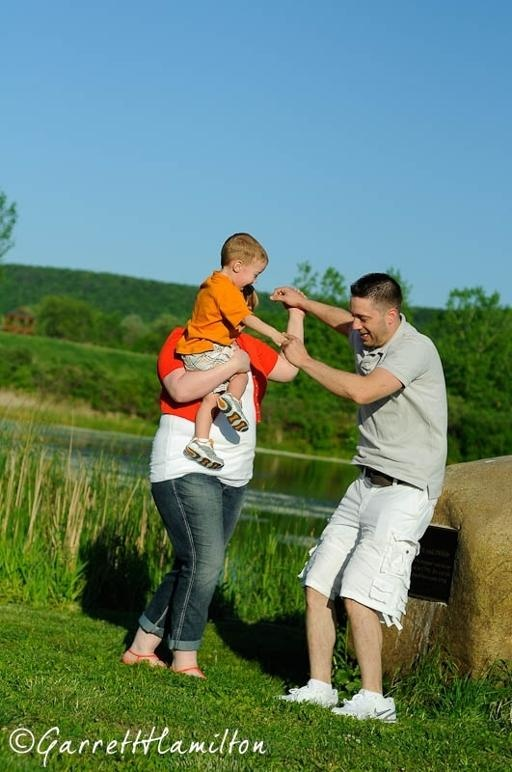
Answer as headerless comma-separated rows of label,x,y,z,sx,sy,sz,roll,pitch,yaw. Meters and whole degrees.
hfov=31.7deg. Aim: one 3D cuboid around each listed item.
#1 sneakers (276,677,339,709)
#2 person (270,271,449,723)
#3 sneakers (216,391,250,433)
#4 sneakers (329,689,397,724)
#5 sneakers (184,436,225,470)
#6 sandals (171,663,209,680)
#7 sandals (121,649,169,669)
sneakers,0.292,1.550,4.561,0.350,0.136,0.115,9,-16,-10
person,0.571,0.522,4.726,0.726,1.512,0.625,7,-4,21
sneakers,-0.116,0.132,4.854,0.098,0.272,0.131,-34,11,5
sneakers,0.559,1.564,4.416,0.391,0.150,0.130,3,-9,-6
sneakers,-0.277,0.354,4.754,0.179,0.122,0.061,34,-41,-4
sandals,-0.354,1.518,4.812,0.231,0.076,0.072,3,-3,-4
sandals,-0.614,1.489,4.956,0.260,0.073,0.095,2,-5,8
